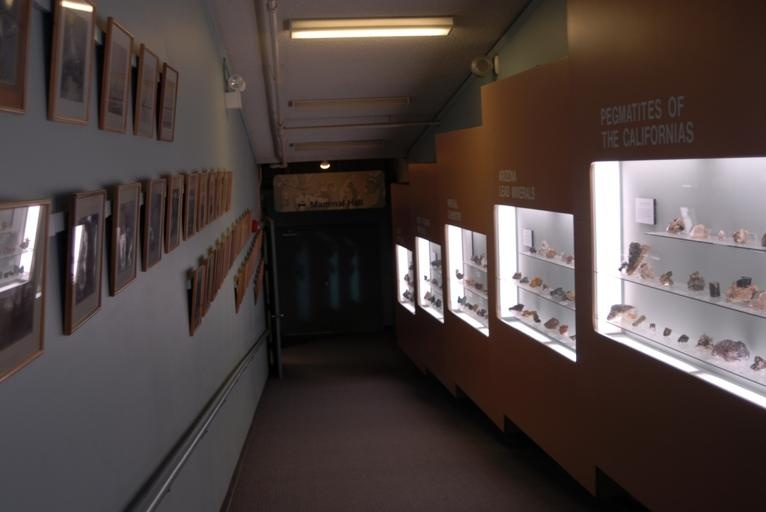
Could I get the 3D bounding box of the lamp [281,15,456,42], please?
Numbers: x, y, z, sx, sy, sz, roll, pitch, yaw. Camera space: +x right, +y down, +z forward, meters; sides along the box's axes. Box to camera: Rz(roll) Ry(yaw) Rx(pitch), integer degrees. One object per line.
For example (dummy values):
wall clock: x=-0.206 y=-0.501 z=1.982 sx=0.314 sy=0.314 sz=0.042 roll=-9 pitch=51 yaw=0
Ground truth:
lamp: x=-0.120 y=-2.523 z=5.578 sx=1.826 sy=0.182 sz=0.334 roll=-4 pitch=3 yaw=-6

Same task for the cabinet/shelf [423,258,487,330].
cabinet/shelf: x=0.984 y=0.512 z=6.708 sx=0.317 sy=1.052 sz=1.060 roll=-4 pitch=4 yaw=-13

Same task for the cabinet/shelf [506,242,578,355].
cabinet/shelf: x=1.539 y=0.388 z=4.832 sx=0.219 sy=0.664 sz=1.066 roll=-3 pitch=3 yaw=-12
